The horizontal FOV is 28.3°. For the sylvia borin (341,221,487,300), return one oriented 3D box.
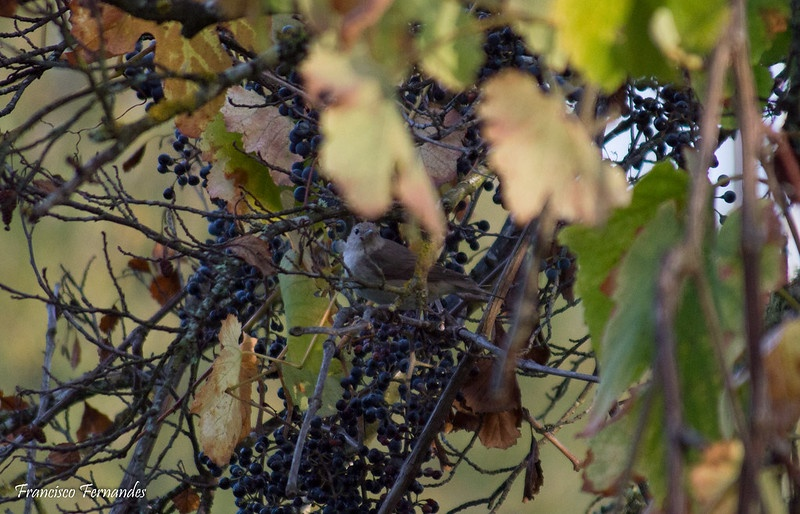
[{"bbox_3d":[0.069,0.028,9.101,0.931,0.346,0.544,-3,-85,-19],"label":"sylvia borin"}]
